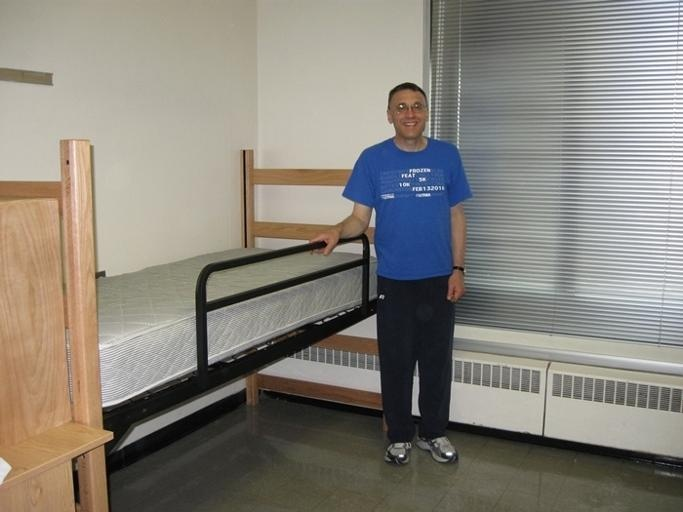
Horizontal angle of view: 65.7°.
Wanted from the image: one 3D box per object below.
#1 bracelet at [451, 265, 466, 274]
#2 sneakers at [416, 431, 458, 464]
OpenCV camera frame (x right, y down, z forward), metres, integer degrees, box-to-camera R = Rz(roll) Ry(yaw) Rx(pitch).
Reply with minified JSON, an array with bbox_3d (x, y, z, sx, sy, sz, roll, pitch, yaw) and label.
[{"bbox_3d":[0.573,0.062,2.624,0.057,0.027,0.054,11,9,42],"label":"bracelet"},{"bbox_3d":[0.502,1.003,2.781,0.097,0.093,0.220,5,-3,-39],"label":"sneakers"}]
